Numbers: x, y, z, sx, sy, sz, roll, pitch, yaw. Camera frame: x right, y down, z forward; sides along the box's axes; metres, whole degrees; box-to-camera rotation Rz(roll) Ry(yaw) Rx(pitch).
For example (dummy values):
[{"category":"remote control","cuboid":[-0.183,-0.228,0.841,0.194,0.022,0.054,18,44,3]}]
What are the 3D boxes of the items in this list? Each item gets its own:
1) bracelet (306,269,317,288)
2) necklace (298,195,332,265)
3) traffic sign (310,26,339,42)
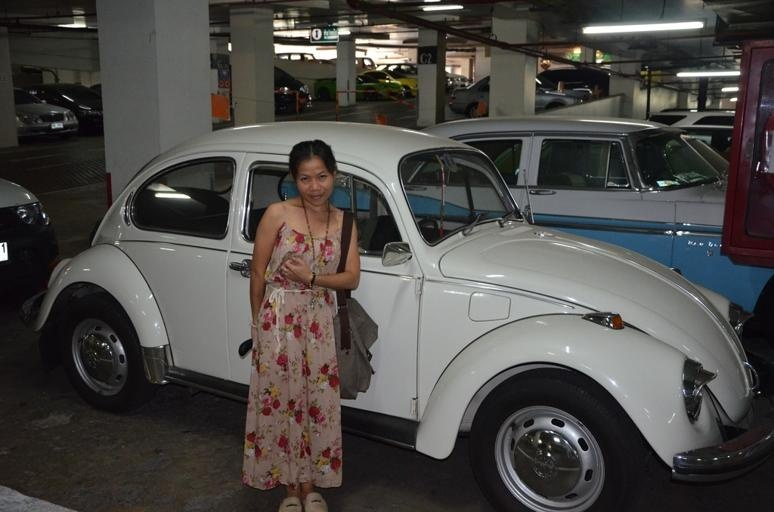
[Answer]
[{"category":"bracelet","cuboid":[-0.521,0.158,3.585,0.035,0.097,0.068,8,4,-21]},{"category":"necklace","cuboid":[-0.491,-0.198,3.664,0.221,0.413,0.170,-1,14,-10]},{"category":"traffic sign","cuboid":[-3.324,-11.805,27.995,1.611,0.713,0.592,12,18,34]}]
